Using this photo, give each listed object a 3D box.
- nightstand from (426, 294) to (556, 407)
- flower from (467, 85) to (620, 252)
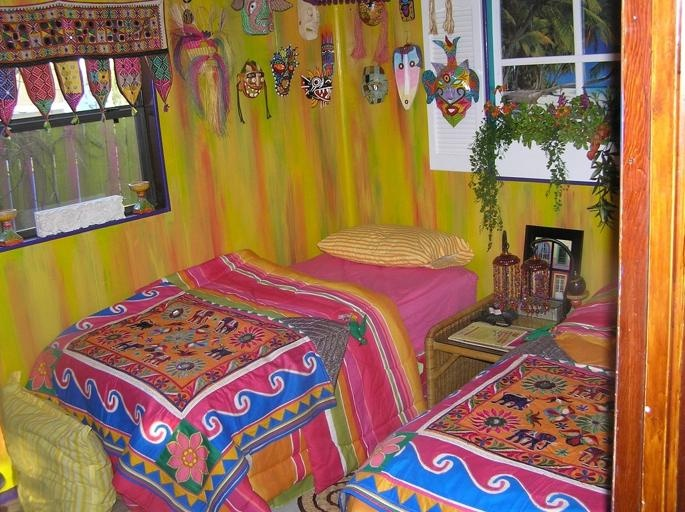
[{"bbox_3d":[0.931,0.632,3.639,0.573,0.802,0.776,13,27,37],"label":"nightstand"},{"bbox_3d":[1.380,-0.626,3.753,1.031,1.267,0.346,10,22,38],"label":"flower"}]
